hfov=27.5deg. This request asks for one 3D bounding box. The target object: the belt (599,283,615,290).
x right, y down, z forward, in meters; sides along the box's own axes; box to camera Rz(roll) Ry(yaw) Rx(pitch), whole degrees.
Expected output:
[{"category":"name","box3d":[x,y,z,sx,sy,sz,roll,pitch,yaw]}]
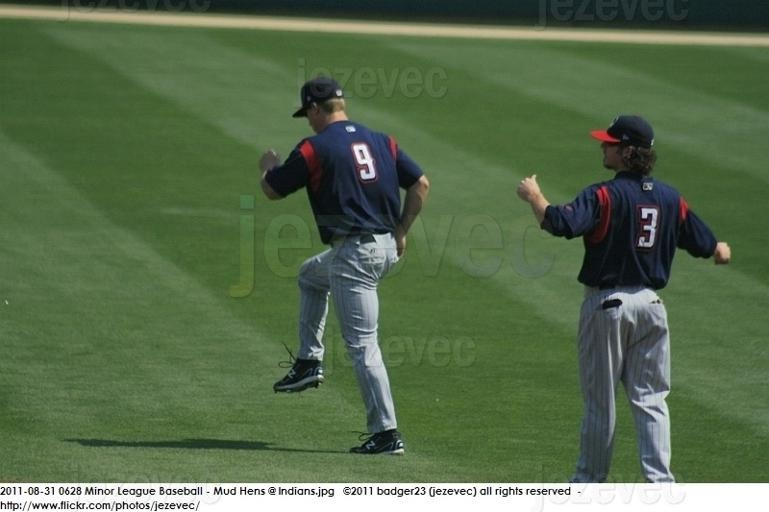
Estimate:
[{"category":"belt","box3d":[2.057,0.280,14.425,0.150,0.054,0.018,2,17,4]}]

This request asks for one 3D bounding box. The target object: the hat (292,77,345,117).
[{"category":"hat","box3d":[-0.666,-1.548,15.209,0.506,0.246,0.345,-10,7,19]}]

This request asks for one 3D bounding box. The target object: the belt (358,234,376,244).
[{"category":"belt","box3d":[-0.163,-0.162,14.997,0.087,0.048,0.110,4,15,23]}]

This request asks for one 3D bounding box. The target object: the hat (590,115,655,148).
[{"category":"hat","box3d":[2.241,-1.160,14.673,0.504,0.213,0.305,5,9,8]}]

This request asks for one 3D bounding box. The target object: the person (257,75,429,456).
[{"category":"person","box3d":[-0.387,0.063,15.157,1.537,3.426,1.093,9,19,24]}]

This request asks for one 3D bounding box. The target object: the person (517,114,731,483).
[{"category":"person","box3d":[2.057,0.391,14.574,1.652,3.260,1.178,4,17,10]}]
